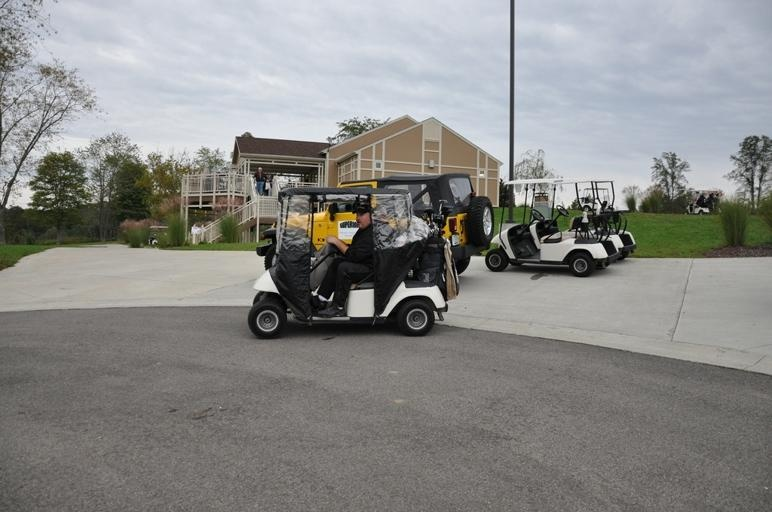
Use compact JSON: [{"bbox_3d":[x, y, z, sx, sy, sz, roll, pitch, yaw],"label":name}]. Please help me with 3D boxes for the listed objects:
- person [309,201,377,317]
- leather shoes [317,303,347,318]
[{"bbox_3d":[-0.647,0.048,7.242,0.865,1.745,0.373,-2,8,-9],"label":"person"},{"bbox_3d":[-0.833,0.840,7.213,0.413,0.188,0.181,1,5,-1],"label":"leather shoes"}]
